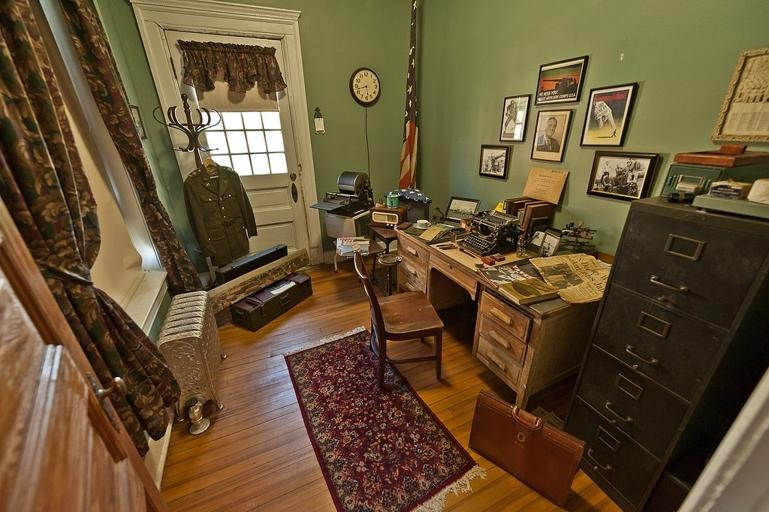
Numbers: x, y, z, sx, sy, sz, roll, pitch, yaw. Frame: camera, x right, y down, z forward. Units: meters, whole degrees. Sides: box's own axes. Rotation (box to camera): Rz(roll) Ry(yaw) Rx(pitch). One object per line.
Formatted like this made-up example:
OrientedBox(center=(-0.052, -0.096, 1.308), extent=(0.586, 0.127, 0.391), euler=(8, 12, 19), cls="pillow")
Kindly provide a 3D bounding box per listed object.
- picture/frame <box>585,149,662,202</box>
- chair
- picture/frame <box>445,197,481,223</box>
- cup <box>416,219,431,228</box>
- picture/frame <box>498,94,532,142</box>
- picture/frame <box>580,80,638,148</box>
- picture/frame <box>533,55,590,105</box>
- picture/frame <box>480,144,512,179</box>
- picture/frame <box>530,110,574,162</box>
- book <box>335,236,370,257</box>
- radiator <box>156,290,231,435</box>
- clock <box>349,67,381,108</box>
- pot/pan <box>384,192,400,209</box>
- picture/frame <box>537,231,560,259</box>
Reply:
OrientedBox(center=(1.701, -0.564, 3.233), extent=(0.031, 0.389, 0.437), euler=(-14, 19, -40), cls="picture/frame")
OrientedBox(center=(0.124, 0.550, 3.714), extent=(0.665, 0.985, 0.548), euler=(-7, 35, -4), cls="chair")
OrientedBox(center=(0.703, -0.398, 4.127), extent=(0.268, 0.203, 0.030), euler=(17, 2, 37), cls="picture/frame")
OrientedBox(center=(0.346, -0.289, 4.148), extent=(0.099, 0.047, 0.069), euler=(-2, 20, -6), cls="cup")
OrientedBox(center=(1.111, -1.170, 3.884), extent=(0.048, 0.481, 0.352), euler=(-10, 20, -30), cls="picture/frame")
OrientedBox(center=(1.618, -1.012, 3.274), extent=(0.052, 0.529, 0.383), euler=(-14, 29, -39), cls="picture/frame")
OrientedBox(center=(1.364, -1.337, 3.497), extent=(0.032, 0.350, 0.408), euler=(-9, 21, -37), cls="picture/frame")
OrientedBox(center=(1.010, -0.846, 4.123), extent=(0.021, 0.286, 0.299), euler=(-11, 20, -26), cls="picture/frame")
OrientedBox(center=(1.332, -0.945, 3.620), extent=(0.038, 0.392, 0.321), euler=(-10, 36, -30), cls="picture/frame")
OrientedBox(center=(-0.330, -0.089, 4.617), extent=(0.289, 0.197, 0.098), euler=(0, -1, 11), cls="book")
OrientedBox(center=(-1.374, 0.789, 3.265), extent=(0.296, 0.638, 0.714), euler=(-6, 40, -11), cls="radiator")
OrientedBox(center=(-0.202, -1.768, 4.841), extent=(0.357, 0.385, 0.066), euler=(-13, 25, -32), cls="clock")
OrientedBox(center=(0.075, -0.528, 4.381), extent=(0.123, 0.134, 0.153), euler=(0, 21, -2), cls="pot/pan")
OrientedBox(center=(1.228, -0.074, 3.439), extent=(0.024, 0.184, 0.131), euler=(-7, 40, -29), cls="picture/frame")
